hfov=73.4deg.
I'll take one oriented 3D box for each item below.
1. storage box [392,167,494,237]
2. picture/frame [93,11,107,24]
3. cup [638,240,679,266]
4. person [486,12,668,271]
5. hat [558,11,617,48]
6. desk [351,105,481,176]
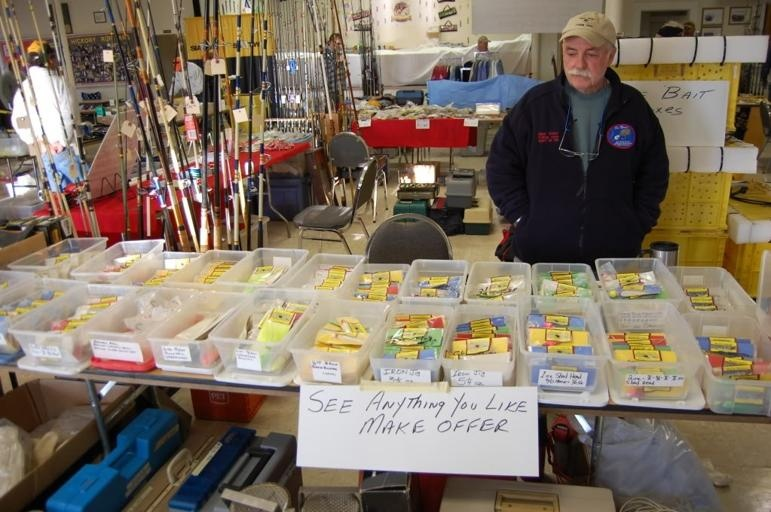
[{"bbox_3d":[0.817,-0.668,6.046,0.847,0.550,0.882,4,24,18],"label":"storage box"},{"bbox_3d":[-6.699,-5.582,12.126,0.320,0.315,0.088,0,28,-2],"label":"picture/frame"},{"bbox_3d":[1.604,-0.016,3.037,0.186,0.201,0.114,-2,16,13],"label":"cup"},{"bbox_3d":[1.062,-0.601,2.847,1.002,1.331,0.452,-1,22,11],"label":"person"},{"bbox_3d":[1.034,-1.153,2.632,0.174,0.134,0.250,21,21,31],"label":"hat"},{"bbox_3d":[0.404,-1.622,7.165,1.358,0.708,1.063,3,32,6],"label":"desk"}]
